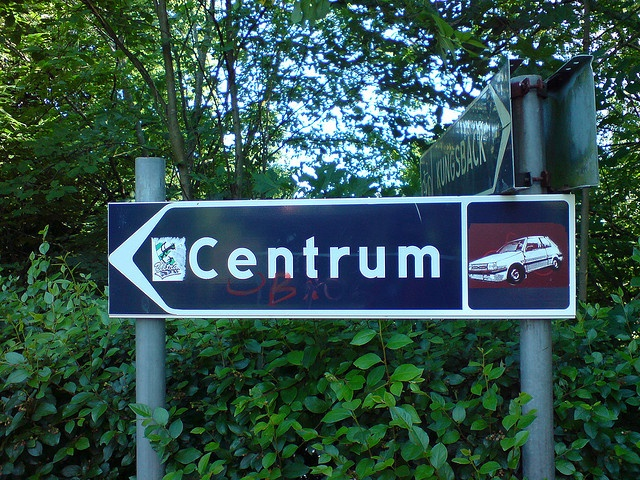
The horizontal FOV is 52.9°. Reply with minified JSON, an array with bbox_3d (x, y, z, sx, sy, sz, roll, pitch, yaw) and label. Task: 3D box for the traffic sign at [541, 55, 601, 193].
[{"bbox_3d":[1.428,-0.663,3.701,0.342,0.772,0.186,-1,7,40],"label":"traffic sign"}]
